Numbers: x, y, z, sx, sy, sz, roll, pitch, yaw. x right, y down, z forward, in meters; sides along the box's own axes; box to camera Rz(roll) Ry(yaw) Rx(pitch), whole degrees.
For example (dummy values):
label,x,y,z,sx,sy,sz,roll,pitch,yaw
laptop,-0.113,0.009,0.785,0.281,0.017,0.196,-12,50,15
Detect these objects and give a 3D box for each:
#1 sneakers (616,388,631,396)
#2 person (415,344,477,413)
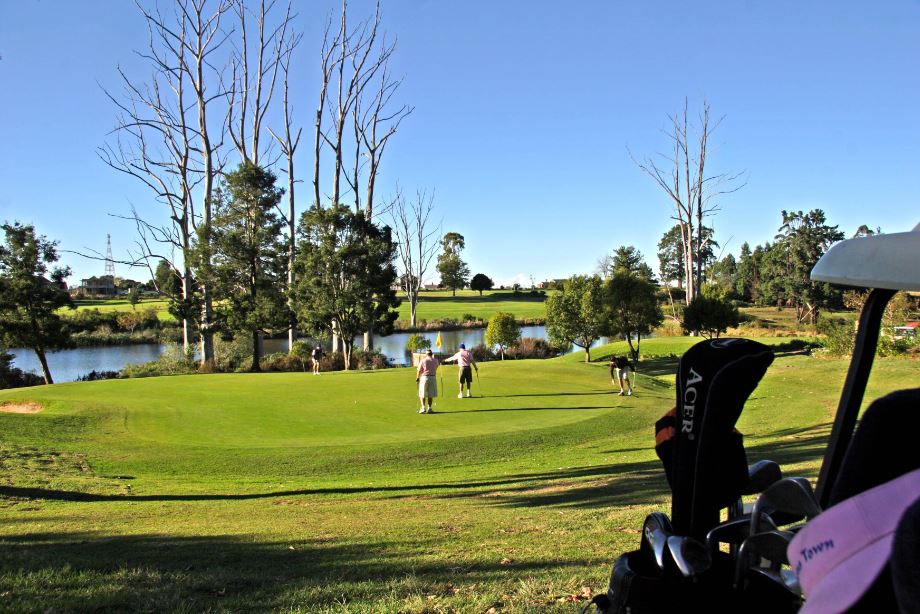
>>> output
label,x,y,z,sx,sy,sz,roll,pitch,yaw
sneakers,5.647,2.958,26.214,0.641,0.290,0.213,11,-13,-29
person,-0.450,2.437,25.647,1.620,1.562,0.418,1,-5,-26
